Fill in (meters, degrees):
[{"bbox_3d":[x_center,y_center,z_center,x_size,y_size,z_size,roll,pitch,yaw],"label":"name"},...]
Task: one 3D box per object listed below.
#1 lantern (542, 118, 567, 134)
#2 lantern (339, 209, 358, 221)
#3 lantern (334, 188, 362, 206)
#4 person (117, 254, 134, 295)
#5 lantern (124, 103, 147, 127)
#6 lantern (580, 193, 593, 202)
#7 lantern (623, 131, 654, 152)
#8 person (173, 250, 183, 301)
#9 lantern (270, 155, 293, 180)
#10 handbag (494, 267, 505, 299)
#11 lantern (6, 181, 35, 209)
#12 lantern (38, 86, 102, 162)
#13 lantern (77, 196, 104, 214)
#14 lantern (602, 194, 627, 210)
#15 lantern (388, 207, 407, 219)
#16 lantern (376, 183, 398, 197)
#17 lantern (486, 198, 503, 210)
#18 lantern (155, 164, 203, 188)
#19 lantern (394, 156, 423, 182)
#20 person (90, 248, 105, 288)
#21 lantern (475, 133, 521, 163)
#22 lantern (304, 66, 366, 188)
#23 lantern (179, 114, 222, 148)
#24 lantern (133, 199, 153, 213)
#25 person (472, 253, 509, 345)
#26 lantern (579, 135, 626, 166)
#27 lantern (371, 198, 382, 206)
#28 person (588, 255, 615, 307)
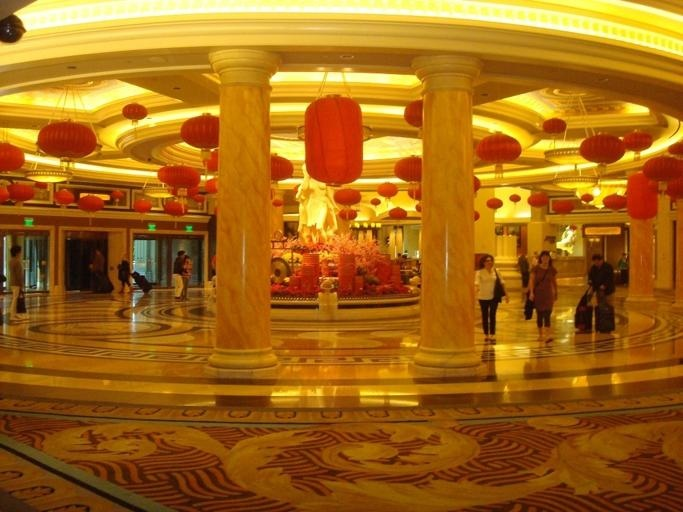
[{"bbox_3d":[3.940,-2.404,9.967,0.477,0.267,0.418,0,8,19],"label":"lantern"},{"bbox_3d":[0.162,-1.246,15.955,0.468,0.191,0.423,-1,0,15],"label":"lantern"},{"bbox_3d":[0.167,-1.504,13.517,0.525,0.297,0.550,11,-14,-42],"label":"lantern"},{"bbox_3d":[-7.968,0.630,19.682,0.481,1.339,2.001,0,1,-22],"label":"person"},{"bbox_3d":[-3.688,-2.585,9.611,0.349,0.394,0.954,0,1,-18],"label":"lantern"},{"bbox_3d":[7.258,-1.729,15.963,0.351,0.279,0.323,-3,-1,20],"label":"lantern"},{"bbox_3d":[5.370,-2.074,9.829,0.489,0.321,0.492,-1,1,-13],"label":"lantern"},{"bbox_3d":[-4.868,0.564,16.065,0.256,1.413,0.495,0,0,-13],"label":"person"},{"bbox_3d":[-1.040,-1.549,9.355,0.495,0.273,0.441,1,3,6],"label":"lantern"},{"bbox_3d":[2.503,0.475,8.525,0.172,0.491,0.292,0,1,15],"label":"handbag"},{"bbox_3d":[-7.293,-1.475,12.199,0.429,0.401,0.447,-1,1,-36],"label":"lantern"},{"bbox_3d":[-3.771,-1.889,7.443,0.828,0.968,0.796,2,0,-36],"label":"lantern"},{"bbox_3d":[-6.789,-1.400,14.411,0.551,0.327,0.487,3,7,30],"label":"lantern"},{"bbox_3d":[6.957,-1.368,13.705,0.654,0.378,0.580,-1,8,5],"label":"lantern"},{"bbox_3d":[1.581,-1.279,16.236,0.541,0.296,0.511,-3,2,-34],"label":"lantern"},{"bbox_3d":[1.242,-1.804,14.782,0.527,0.354,0.459,-1,4,10],"label":"lantern"},{"bbox_3d":[5.216,-1.794,18.261,0.615,0.427,0.544,-2,0,-6],"label":"lantern"},{"bbox_3d":[-2.993,-1.428,9.711,0.580,0.264,0.518,4,0,10],"label":"lantern"},{"bbox_3d":[1.242,-1.653,10.257,0.687,0.463,0.579,-1,10,-6],"label":"lantern"},{"bbox_3d":[-8.589,0.522,18.930,0.431,1.471,0.950,0,1,-24],"label":"person"},{"bbox_3d":[2.547,-1.701,8.723,0.623,0.375,0.589,1,-4,19],"label":"lantern"},{"bbox_3d":[-0.092,-1.317,6.001,0.636,1.024,0.309,0,0,-3],"label":"lantern"},{"bbox_3d":[-1.954,-1.749,7.418,0.476,0.496,0.441,0,1,-9],"label":"lantern"},{"bbox_3d":[-6.227,-1.554,16.621,0.594,0.370,0.528,2,7,6],"label":"lantern"},{"bbox_3d":[2.402,0.678,8.717,0.460,1.414,0.735,0,1,13],"label":"person"},{"bbox_3d":[4.059,-1.648,8.426,0.600,0.513,0.542,0,6,14],"label":"lantern"},{"bbox_3d":[1.376,-2.160,21.253,0.480,0.412,0.465,-1,0,-6],"label":"lantern"},{"bbox_3d":[4.670,0.420,9.674,0.391,0.877,0.640,0,1,23],"label":"person"}]
